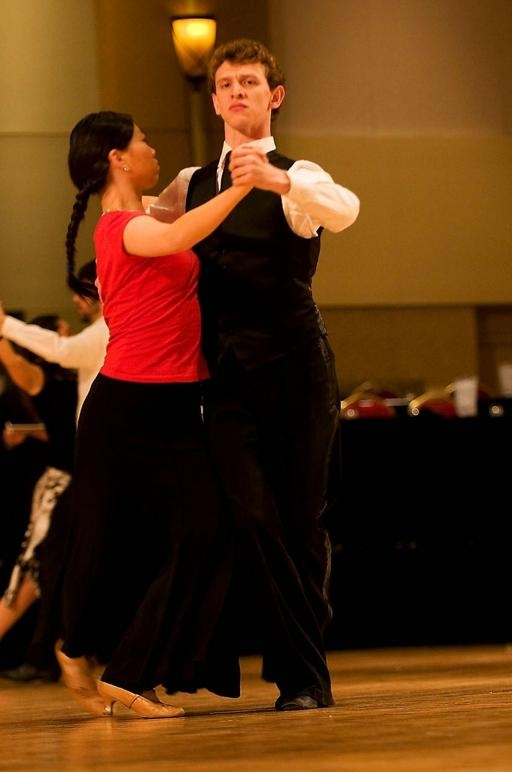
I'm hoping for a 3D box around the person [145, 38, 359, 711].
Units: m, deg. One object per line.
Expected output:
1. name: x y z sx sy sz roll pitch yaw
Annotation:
1. person: 0.023 -0.041 1.741 0.359 1.464 0.482 -4 9 -15
